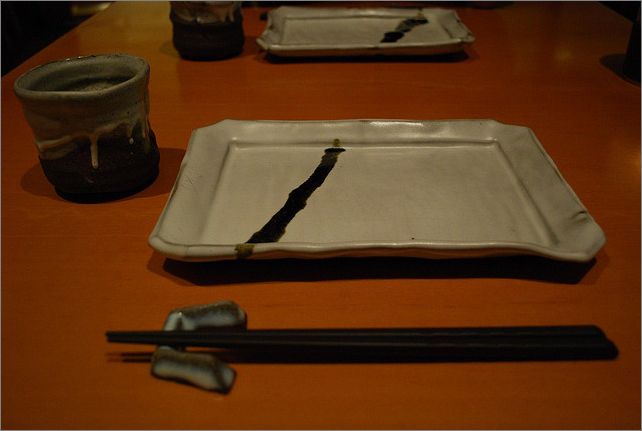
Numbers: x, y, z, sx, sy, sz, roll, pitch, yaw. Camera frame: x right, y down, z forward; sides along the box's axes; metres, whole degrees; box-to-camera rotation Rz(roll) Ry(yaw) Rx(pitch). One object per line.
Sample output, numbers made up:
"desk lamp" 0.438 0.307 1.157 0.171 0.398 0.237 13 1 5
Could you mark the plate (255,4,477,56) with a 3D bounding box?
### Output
"plate" 0.127 -0.587 1.947 0.642 0.119 0.337 2 43 -2
